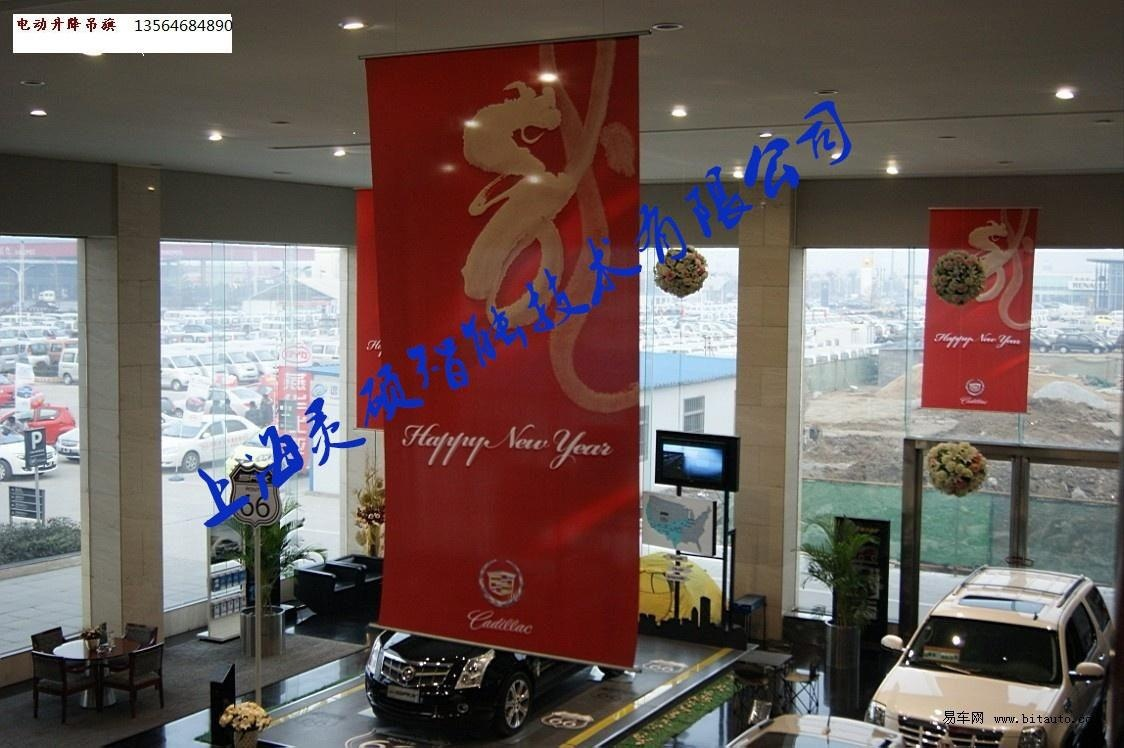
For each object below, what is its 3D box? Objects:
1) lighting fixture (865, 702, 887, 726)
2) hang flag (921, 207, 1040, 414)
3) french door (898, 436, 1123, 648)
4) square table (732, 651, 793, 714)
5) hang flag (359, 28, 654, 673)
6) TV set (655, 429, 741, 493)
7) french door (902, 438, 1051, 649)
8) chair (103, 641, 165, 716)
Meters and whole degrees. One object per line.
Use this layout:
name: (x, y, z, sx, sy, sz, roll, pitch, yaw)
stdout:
lighting fixture: (3.316, 3.596, 8.924, 0.197, 0.194, 0.202, 2, -5, -2)
hang flag: (5.656, -0.875, 11.446, 1.363, 2.776, 0.516, 1, 4, 23)
french door: (6.069, 2.141, 11.226, 3.794, 2.848, 0.254, 4, 9, 30)
square table: (2.718, 4.126, 11.407, 0.449, 0.647, 0.475, -4, -8, 36)
hang flag: (-0.391, -0.125, 5.741, 1.827, 4.157, 0.171, 0, 4, 14)
TV set: (2.088, 1.331, 12.870, 0.985, 0.666, 0.141, 5, 9, 24)
french door: (6.027, 2.229, 12.625, 1.750, 0.235, 3.104, -1, 42, 28)
chair: (-5.413, 3.815, 10.639, 0.675, 0.726, 0.634, 4, -7, -44)
